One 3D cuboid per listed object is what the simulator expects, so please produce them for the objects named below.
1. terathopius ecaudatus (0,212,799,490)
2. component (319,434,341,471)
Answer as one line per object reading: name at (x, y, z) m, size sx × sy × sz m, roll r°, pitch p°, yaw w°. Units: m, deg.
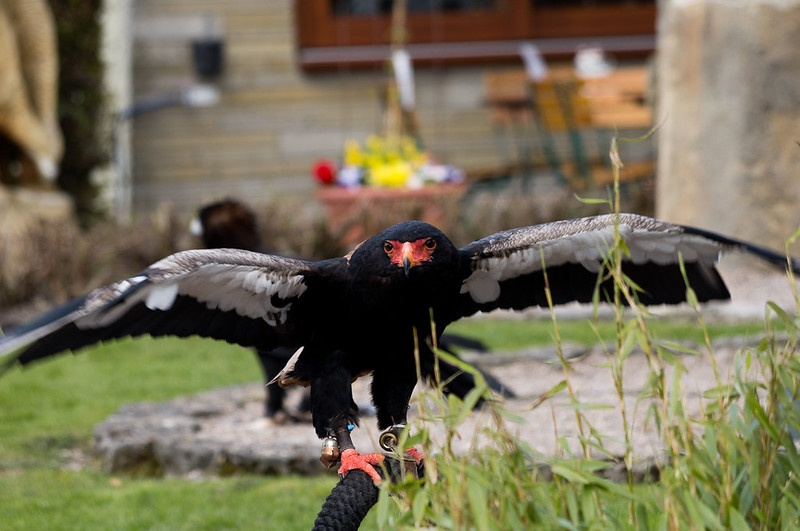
terathopius ecaudatus at (-0.539, 0.676, 12.424) m, size 4.571 × 2.019 × 0.720 m, roll -2°, pitch 3°, yaw -10°
component at (-0.554, 1.489, 12.371) m, size 0.146 × 0.252 × 0.162 m, roll -2°, pitch 3°, yaw -2°
